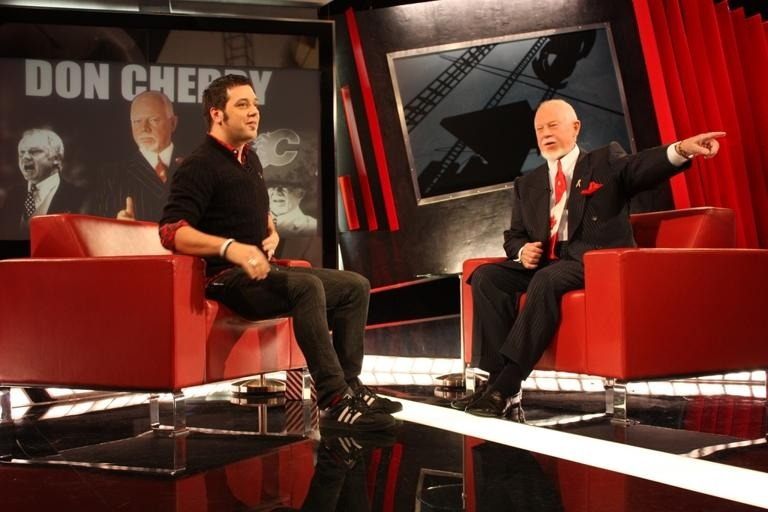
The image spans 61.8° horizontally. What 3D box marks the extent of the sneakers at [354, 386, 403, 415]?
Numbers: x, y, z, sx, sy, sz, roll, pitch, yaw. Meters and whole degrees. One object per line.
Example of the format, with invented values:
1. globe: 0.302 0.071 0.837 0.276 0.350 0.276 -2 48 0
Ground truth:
1. sneakers: -0.042 0.703 3.150 0.297 0.114 0.106 11 1 -14

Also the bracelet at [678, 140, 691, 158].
1. bracelet: 1.523 -0.539 3.237 0.042 0.042 0.082 -9 -44 11

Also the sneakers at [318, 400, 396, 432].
1. sneakers: -0.129 0.753 3.080 0.391 0.170 0.142 -1 0 1
